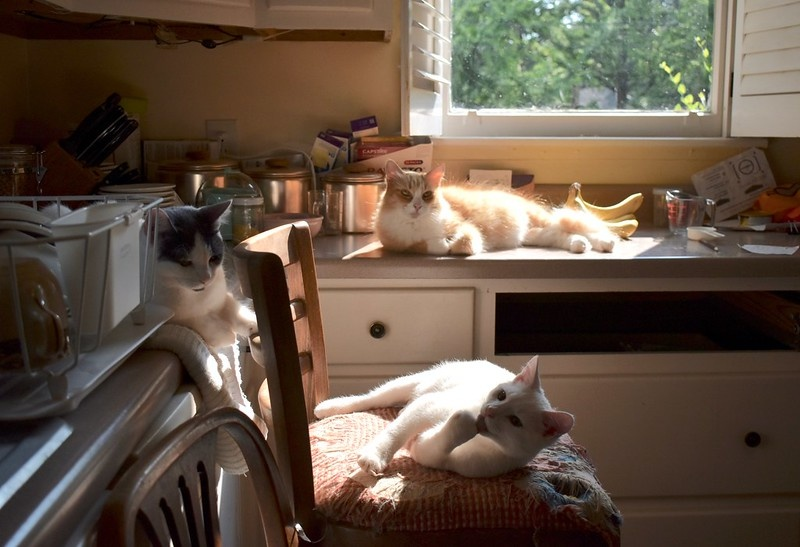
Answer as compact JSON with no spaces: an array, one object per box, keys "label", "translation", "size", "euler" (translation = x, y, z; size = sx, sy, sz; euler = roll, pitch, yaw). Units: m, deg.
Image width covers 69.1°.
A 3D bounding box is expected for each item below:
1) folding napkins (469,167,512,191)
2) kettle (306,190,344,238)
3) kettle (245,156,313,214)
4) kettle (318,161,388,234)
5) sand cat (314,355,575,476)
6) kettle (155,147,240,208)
[{"label":"folding napkins","translation":[0.342,-0.354,2.165],"size":[0.099,0.096,0.027],"euler":[5,-16,0]},{"label":"kettle","translation":[-0.244,-0.216,2.059],"size":[0.097,0.161,0.162],"euler":[3,5,28]},{"label":"kettle","translation":[-0.422,-0.288,2.069],"size":[0.208,0.228,0.209],"euler":[-8,17,-30]},{"label":"kettle","translation":[-0.151,-0.273,2.067],"size":[0.215,0.213,0.228],"euler":[4,10,18]},{"label":"sand cat","translation":[0.076,0.200,1.307],"size":[0.469,0.267,0.520],"euler":[2,9,0]},{"label":"kettle","translation":[-0.678,-0.312,1.937],"size":[0.190,0.175,0.200],"euler":[3,6,16]}]
